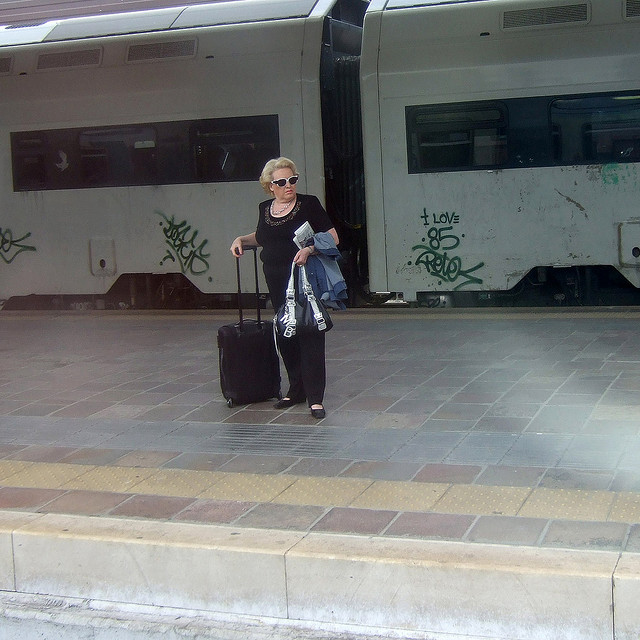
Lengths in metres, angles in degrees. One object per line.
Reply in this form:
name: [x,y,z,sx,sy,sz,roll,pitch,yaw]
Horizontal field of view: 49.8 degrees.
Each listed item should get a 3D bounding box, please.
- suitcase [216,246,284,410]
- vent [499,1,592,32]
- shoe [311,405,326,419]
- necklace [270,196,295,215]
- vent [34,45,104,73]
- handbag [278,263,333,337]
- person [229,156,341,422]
suitcase: [-0.487,0.059,4.891,0.422,1.098,0.266,1,5,9]
vent: [2.456,-3.291,7.503,0.955,0.260,0.088,0,9,13]
shoe: [-0.014,0.592,4.382,0.082,0.054,0.154,0,0,-2]
necklace: [-0.267,-0.738,4.512,0.111,0.104,0.218,-9,11,-35]
vent: [-3.369,-3.469,9.216,1.049,0.307,0.096,1,9,17]
handbag: [-0.089,-0.126,4.371,0.389,0.552,0.224,-4,-7,-3]
person: [-0.218,-0.238,4.821,0.628,1.687,1.397,-3,9,-5]
